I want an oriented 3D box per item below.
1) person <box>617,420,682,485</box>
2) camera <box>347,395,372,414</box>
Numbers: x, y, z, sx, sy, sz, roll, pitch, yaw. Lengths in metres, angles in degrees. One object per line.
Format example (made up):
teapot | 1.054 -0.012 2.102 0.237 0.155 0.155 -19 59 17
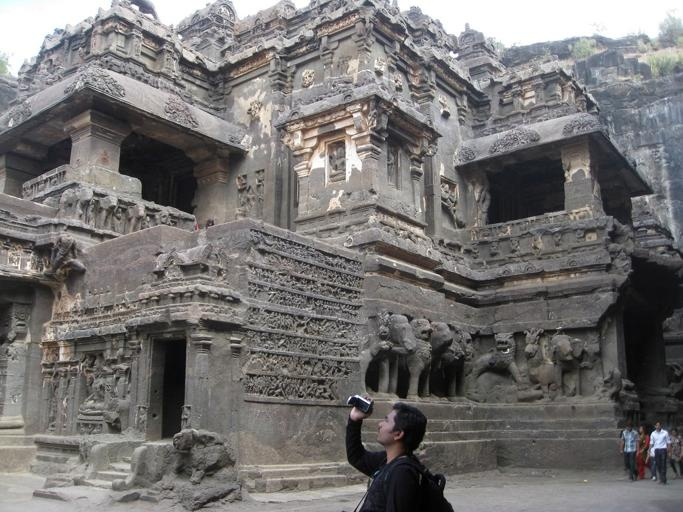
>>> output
person | 7.225 4.678 15.755 1.002 1.364 1.378 -8 -19 19
camera | 0.172 1.470 6.699 0.250 0.148 0.086 13 14 25
